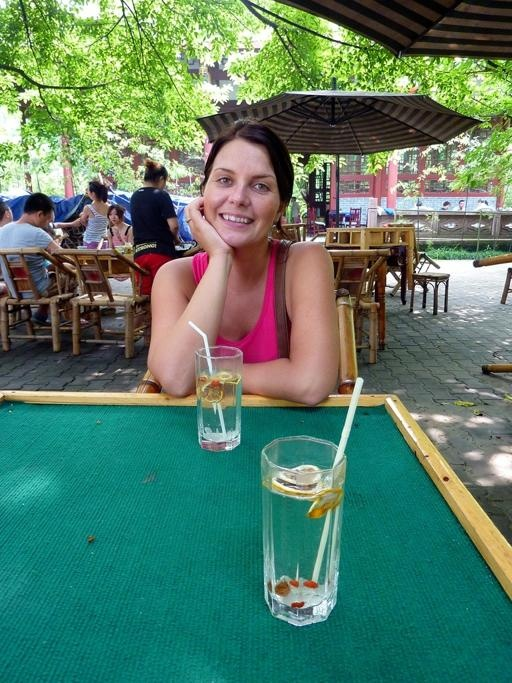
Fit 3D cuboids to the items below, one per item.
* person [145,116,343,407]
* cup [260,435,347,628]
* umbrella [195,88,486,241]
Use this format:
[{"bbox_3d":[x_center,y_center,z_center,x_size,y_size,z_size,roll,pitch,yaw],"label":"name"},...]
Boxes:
[{"bbox_3d":[-0.075,-0.312,1.673,0.676,0.887,0.762,-1,16,7],"label":"person"},{"bbox_3d":[0.062,0.248,0.671,0.120,0.206,0.175,-3,16,2],"label":"cup"},{"bbox_3d":[0.883,-2.286,6.756,2.894,1.795,2.971,16,19,40],"label":"umbrella"}]
